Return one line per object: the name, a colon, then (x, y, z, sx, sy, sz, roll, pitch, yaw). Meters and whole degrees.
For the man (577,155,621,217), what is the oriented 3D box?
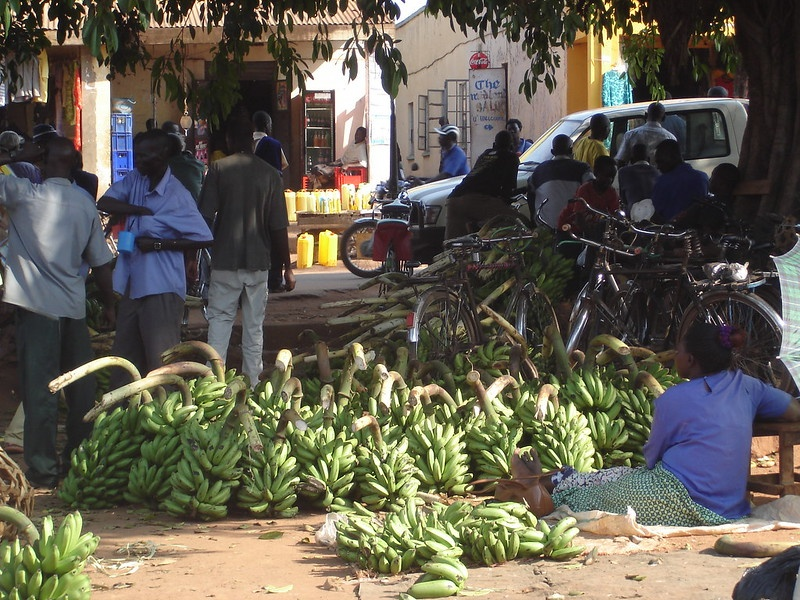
man: (2.127, -1.166, 9.916, 0.431, 0.819, 0.473, 7, 15, 3)

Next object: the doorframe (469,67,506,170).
doorframe: (1.603, -3.412, 16.959, 0.690, 0.214, 2.182, -3, -40, 4)

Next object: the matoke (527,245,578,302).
matoke: (1.589, -0.289, 9.889, 0.506, 0.604, 0.535, -1, 3, 12)

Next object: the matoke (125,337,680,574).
matoke: (-0.078, 0.948, 5.925, 2.119, 0.806, 1.736, 1, 6, -7)

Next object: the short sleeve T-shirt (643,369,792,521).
short sleeve T-shirt: (1.872, 0.854, 5.543, 0.795, 0.872, 0.326, -3, 3, -17)

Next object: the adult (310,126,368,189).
adult: (-1.225, -2.812, 18.696, 1.044, 1.596, 0.938, 3, 28, 3)

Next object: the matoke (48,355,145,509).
matoke: (-2.010, 0.888, 6.149, 0.440, 0.373, 0.768, 10, 43, -7)

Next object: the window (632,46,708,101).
window: (3.397, -2.983, 12.010, 0.886, 0.595, 1.124, 28, 24, 29)

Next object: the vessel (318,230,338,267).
vessel: (-1.327, -0.973, 17.426, 0.411, 0.641, 0.296, -3, 3, -24)

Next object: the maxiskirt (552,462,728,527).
maxiskirt: (1.419, 1.183, 5.732, 0.924, 0.340, 0.803, -1, -8, 28)

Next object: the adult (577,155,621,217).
adult: (2.129, -1.177, 9.917, 0.421, 0.797, 0.459, 8, 19, 9)

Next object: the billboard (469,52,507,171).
billboard: (1.561, -3.263, 16.661, 0.681, 2.277, 0.203, 0, -27, 3)

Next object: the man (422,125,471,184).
man: (0.741, -2.304, 14.610, 0.641, 1.253, 0.784, 0, 11, 0)

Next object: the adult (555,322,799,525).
adult: (1.625, 0.734, 5.698, 0.839, 1.180, 1.335, 1, 0, -43)

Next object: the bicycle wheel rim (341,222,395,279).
bicycle wheel rim: (-0.477, -0.737, 13.736, 0.725, 0.903, 0.226, -20, 20, 1)

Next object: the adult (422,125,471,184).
adult: (0.739, -2.290, 14.587, 0.641, 1.253, 0.784, 0, 11, 0)

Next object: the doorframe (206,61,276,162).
doorframe: (-3.188, -3.985, 18.830, 1.513, 2.529, 1.738, -2, -27, -7)

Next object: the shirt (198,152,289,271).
shirt: (-1.336, -0.844, 7.966, 0.771, 1.152, 0.411, -2, 36, -15)

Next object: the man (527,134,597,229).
man: (1.919, -1.324, 11.174, 0.758, 1.256, 0.612, -1, -9, 31)

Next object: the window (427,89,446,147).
window: (1.065, -5.284, 27.298, 0.563, 2.497, 0.183, -2, -36, 4)

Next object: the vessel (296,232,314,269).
vessel: (-1.748, -0.900, 17.026, 0.293, 0.610, 0.414, -2, 3, -12)

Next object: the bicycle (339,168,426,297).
bicycle: (-0.348, -0.835, 13.489, 0.942, 1.367, 1.944, 3, 8, 9)

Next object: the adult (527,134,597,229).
adult: (1.919, -1.313, 11.208, 0.806, 1.332, 0.676, -2, -12, 31)

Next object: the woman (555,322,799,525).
woman: (1.641, 0.763, 5.707, 0.839, 1.180, 1.335, 1, 0, -43)

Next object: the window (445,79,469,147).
window: (1.503, -5.029, 24.819, 0.059, 1.702, 1.050, -15, 19, -39)

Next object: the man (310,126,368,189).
man: (-1.197, -3.075, 19.104, 1.044, 1.596, 0.938, 3, 28, 3)
